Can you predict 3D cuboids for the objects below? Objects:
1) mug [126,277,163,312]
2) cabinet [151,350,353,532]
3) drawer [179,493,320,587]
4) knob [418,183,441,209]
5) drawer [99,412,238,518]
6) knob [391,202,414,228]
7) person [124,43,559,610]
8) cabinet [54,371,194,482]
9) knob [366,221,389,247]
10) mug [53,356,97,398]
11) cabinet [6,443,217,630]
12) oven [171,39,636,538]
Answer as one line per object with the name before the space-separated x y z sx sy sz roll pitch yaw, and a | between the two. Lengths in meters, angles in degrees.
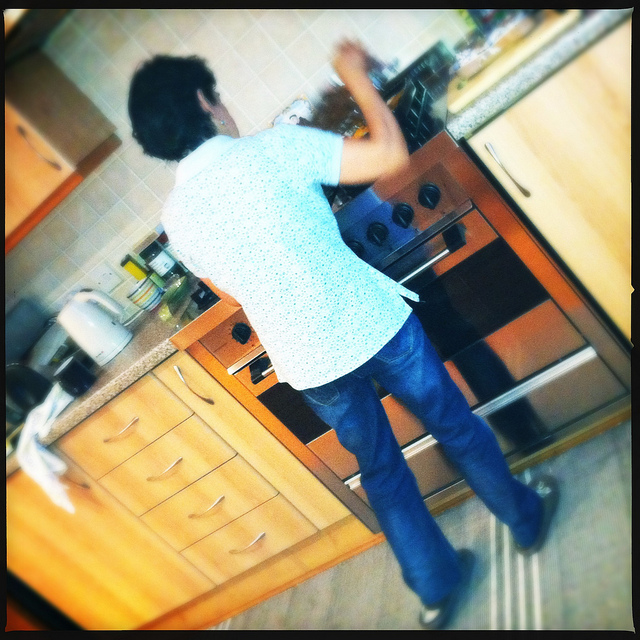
mug | -0.548 -0.079 1.982 0.100 0.090 0.092 -23 13 47
cabinet | -0.256 0.327 2.266 0.458 0.787 0.509 -48 15 -16
drawer | -0.226 0.713 1.992 0.316 0.344 0.082 -34 52 12
knob | 0.292 -0.328 1.620 0.062 0.056 0.018 -39 15 -1
drawer | -0.465 0.449 1.901 0.339 0.114 0.303 -39 15 -27
knob | 0.221 -0.279 1.628 0.062 0.062 0.020 -44 14 8
person | 0.112 0.003 1.697 0.666 1.587 0.573 -28 16 11
cabinet | -0.559 0.287 1.989 0.441 0.211 0.318 -33 14 15
knob | 0.153 -0.232 1.648 0.059 0.059 0.020 -41 11 13
mug | -0.726 0.172 1.820 0.090 0.147 0.048 -45 16 -22
cabinet | -0.683 0.663 1.939 0.360 0.516 0.277 -58 7 0
oven | 0.271 -0.057 1.658 0.847 1.176 0.781 -37 11 26
